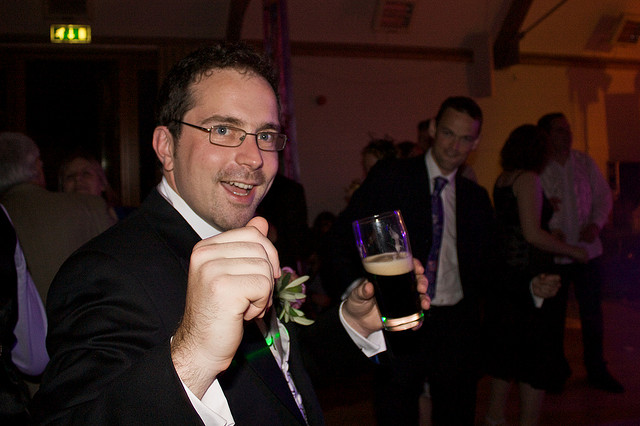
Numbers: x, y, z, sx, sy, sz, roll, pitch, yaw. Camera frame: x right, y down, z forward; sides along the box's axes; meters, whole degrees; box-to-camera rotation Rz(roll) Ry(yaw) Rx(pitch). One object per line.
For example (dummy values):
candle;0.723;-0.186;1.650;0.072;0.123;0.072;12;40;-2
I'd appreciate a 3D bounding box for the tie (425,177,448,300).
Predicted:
tie;1.025;0.191;4.637;0.113;1.208;0.130;0;-24;21

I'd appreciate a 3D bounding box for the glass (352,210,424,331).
glass;0.484;0.395;3.492;0.342;0.762;0.355;-13;6;-1
